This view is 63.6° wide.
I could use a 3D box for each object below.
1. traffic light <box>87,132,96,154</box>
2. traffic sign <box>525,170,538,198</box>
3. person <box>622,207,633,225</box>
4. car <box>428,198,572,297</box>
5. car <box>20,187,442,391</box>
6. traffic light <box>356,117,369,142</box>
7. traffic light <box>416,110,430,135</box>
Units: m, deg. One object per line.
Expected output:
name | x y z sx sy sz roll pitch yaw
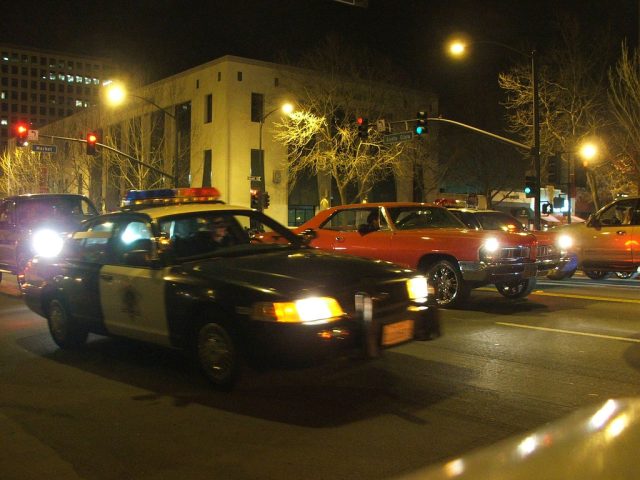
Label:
traffic light | -13.318 -5.671 30.258 0.431 1.245 0.704 -2 2 -31
traffic sign | 9.425 -2.528 23.111 0.436 1.229 0.978 0 2 19
person | 8.388 -0.671 14.174 0.290 0.462 1.138 0 2 24
car | 4.404 0.021 12.349 1.846 1.444 3.167 -3 3 -42
car | -1.562 0.532 6.750 5.158 1.786 2.278 2 2 42
traffic light | 2.352 -6.179 28.371 0.366 1.105 0.790 1 2 40
traffic light | 5.258 -6.183 26.667 0.526 1.226 2.057 -1 2 11
